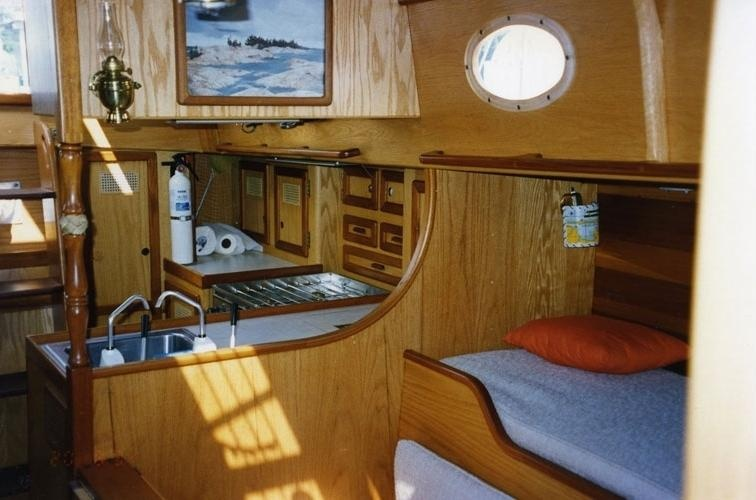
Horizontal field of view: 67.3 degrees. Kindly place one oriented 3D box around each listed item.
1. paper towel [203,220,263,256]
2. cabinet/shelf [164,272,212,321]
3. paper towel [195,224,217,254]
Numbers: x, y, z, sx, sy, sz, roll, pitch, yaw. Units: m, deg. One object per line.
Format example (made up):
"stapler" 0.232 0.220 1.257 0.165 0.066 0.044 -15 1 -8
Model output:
"paper towel" -1.129 -0.024 4.282 0.389 0.147 0.484 -21 -1 -12
"cabinet/shelf" -1.064 0.251 3.206 0.203 0.269 0.296 -2 9 -31
"paper towel" -1.209 -0.060 3.974 0.042 0.166 0.179 -1 5 42
